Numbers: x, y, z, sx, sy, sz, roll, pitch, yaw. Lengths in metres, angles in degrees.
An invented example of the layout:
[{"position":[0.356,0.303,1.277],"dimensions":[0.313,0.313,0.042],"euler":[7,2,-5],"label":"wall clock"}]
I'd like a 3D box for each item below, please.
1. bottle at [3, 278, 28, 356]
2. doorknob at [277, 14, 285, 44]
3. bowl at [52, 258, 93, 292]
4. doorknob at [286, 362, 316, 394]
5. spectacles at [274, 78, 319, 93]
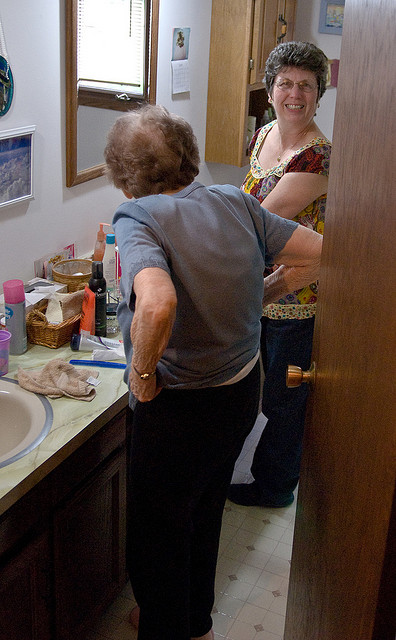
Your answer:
[{"position":[-0.587,-0.008,1.500],"dimensions":[0.070,0.246,0.119],"euler":[-9,20,-21],"label":"bottle"},{"position":[0.531,-1.843,2.954],"dimensions":[0.047,0.152,0.099],"euler":[2,19,11],"label":"doorknob"},{"position":[-0.480,-0.177,1.835],"dimensions":[0.142,0.109,0.142],"euler":[2,38,-2],"label":"bowl"},{"position":[0.188,0.102,0.852],"dimensions":[0.051,0.070,0.051],"euler":[3,-2,-8],"label":"doorknob"},{"position":[0.389,-0.915,1.817],"dimensions":[0.154,0.056,0.043],"euler":[0,19,6],"label":"spectacles"}]
